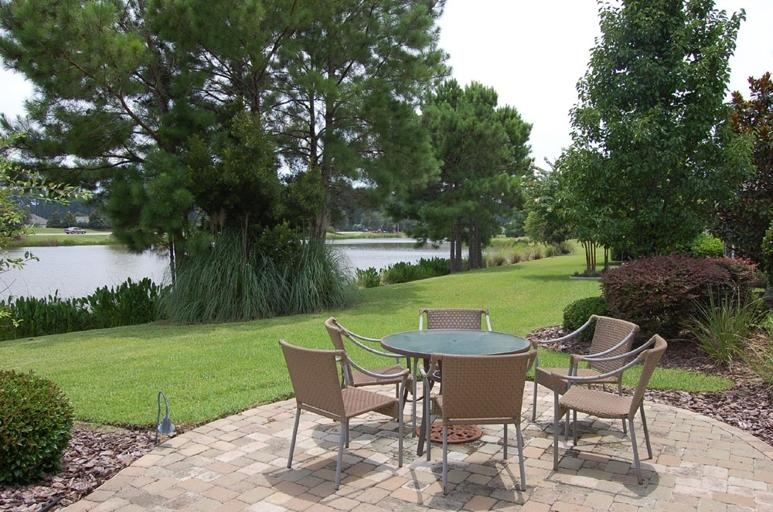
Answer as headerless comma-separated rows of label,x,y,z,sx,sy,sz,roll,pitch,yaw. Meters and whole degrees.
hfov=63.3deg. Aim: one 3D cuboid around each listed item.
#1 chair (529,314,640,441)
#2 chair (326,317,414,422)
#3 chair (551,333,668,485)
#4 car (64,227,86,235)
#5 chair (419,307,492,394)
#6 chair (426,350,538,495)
chair,3.005,1.920,10.178,1.689,2.447,1.774,2,-2,-12
chair,-0.242,1.691,9.668,1.337,1.897,1.337,-2,1,-5
chair,3.383,2.323,9.592,1.761,2.576,1.901,-1,-4,24
car,-24.435,-1.978,49.091,1.856,0.663,0.876,-5,9,-34
chair,1.125,1.616,10.892,1.256,1.771,1.275,0,-6,3
chair,0.990,2.220,9.086,1.639,2.440,1.706,0,2,-2
